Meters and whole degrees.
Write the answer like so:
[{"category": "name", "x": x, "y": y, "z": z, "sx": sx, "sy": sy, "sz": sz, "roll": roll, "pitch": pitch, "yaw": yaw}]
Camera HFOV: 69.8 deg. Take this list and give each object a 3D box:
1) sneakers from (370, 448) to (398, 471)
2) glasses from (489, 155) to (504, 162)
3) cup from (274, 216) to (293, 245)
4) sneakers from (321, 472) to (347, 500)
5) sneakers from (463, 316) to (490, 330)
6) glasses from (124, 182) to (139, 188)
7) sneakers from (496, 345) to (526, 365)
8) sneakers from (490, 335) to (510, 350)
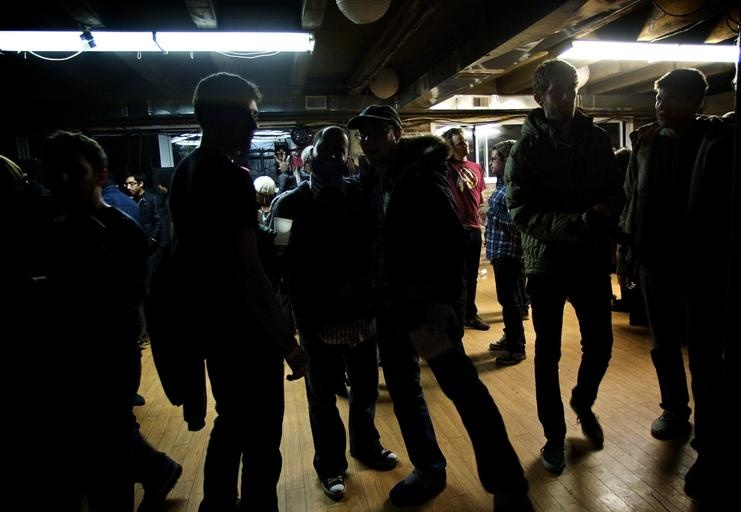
[{"category": "sneakers", "x": 0.077, "y": 1.245, "z": 3.231, "sx": 0.208, "sy": 0.085, "sz": 0.080, "roll": -1, "pitch": 5, "yaw": -1}, {"category": "glasses", "x": 1.158, "y": -0.910, "z": 4.845, "sx": 0.077, "sy": 0.039, "sz": 0.057, "roll": 4, "pitch": 1, "yaw": 10}, {"category": "cup", "x": -0.459, "y": -0.140, "z": 2.798, "sx": 0.134, "sy": 0.137, "sz": 0.126, "roll": 3, "pitch": -3, "yaw": 0}, {"category": "sneakers", "x": -0.201, "y": 1.335, "z": 3.056, "sx": 0.132, "sy": 0.118, "sz": 0.102, "roll": -5, "pitch": 13, "yaw": -11}, {"category": "sneakers", "x": 1.068, "y": 0.680, "z": 5.390, "sx": 0.274, "sy": 0.102, "sz": 0.101, "roll": 0, "pitch": 5, "yaw": 28}, {"category": "glasses", "x": -2.768, "y": -0.832, "z": 6.191, "sx": 0.096, "sy": 0.029, "sz": 0.097, "roll": -1, "pitch": -8, "yaw": 20}, {"category": "sneakers", "x": 1.162, "y": 0.855, "z": 4.479, "sx": 0.293, "sy": 0.122, "sz": 0.102, "roll": 2, "pitch": -5, "yaw": -18}, {"category": "sneakers", "x": 1.130, "y": 0.772, "z": 4.724, "sx": 0.220, "sy": 0.090, "sz": 0.080, "roll": 3, "pitch": 3, "yaw": 38}]
